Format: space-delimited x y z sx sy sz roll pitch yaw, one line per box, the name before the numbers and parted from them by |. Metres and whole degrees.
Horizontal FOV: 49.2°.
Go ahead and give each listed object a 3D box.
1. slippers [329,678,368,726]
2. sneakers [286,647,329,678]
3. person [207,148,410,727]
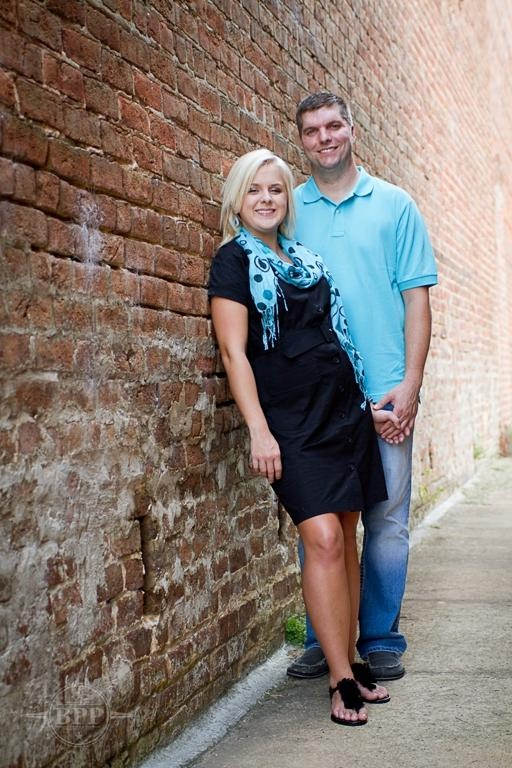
slippers | 0.278 0.957 1.691 0.107 0.148 0.093 -1 -9 8
sneakers | 0.203 1.052 2.138 0.082 0.089 0.225 -1 -9 28
person | 0.141 0.115 1.800 0.589 1.845 0.302 0 -8 -1
